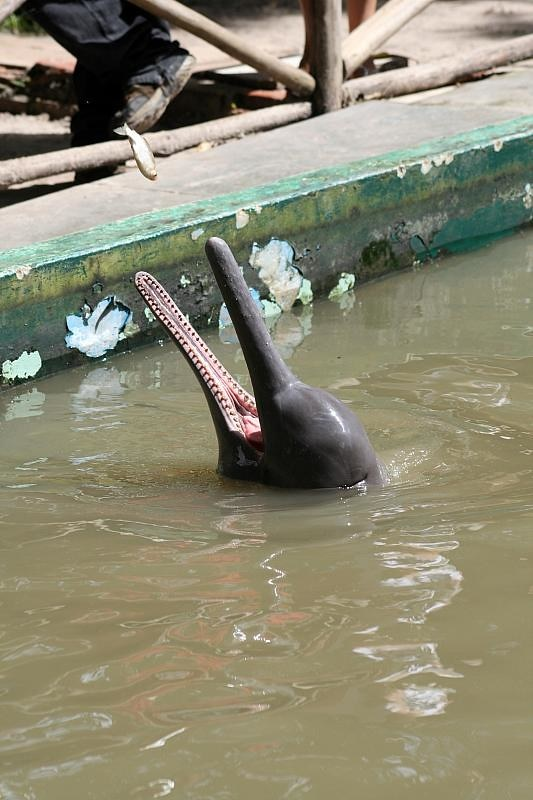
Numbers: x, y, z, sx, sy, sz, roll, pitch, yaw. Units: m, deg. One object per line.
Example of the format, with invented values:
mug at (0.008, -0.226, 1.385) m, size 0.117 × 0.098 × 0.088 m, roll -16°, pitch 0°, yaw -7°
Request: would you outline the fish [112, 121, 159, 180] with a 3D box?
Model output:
fish at (-0.403, -0.806, 3.109) m, size 0.069 × 0.168 × 0.161 m, roll -9°, pitch 10°, yaw -2°
